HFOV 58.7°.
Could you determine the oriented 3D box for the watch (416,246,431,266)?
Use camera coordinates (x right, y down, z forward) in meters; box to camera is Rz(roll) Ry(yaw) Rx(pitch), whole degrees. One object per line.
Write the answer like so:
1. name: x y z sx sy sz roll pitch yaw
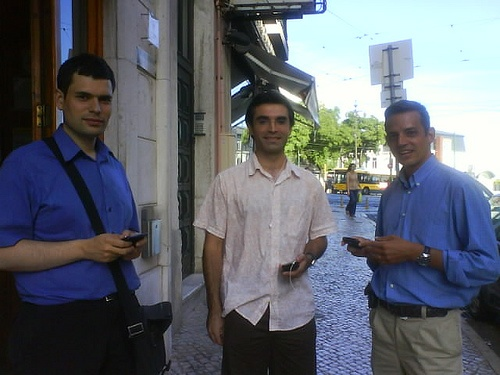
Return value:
1. watch: 1.107 0.435 2.833 0.068 0.122 0.105 16 11 8
